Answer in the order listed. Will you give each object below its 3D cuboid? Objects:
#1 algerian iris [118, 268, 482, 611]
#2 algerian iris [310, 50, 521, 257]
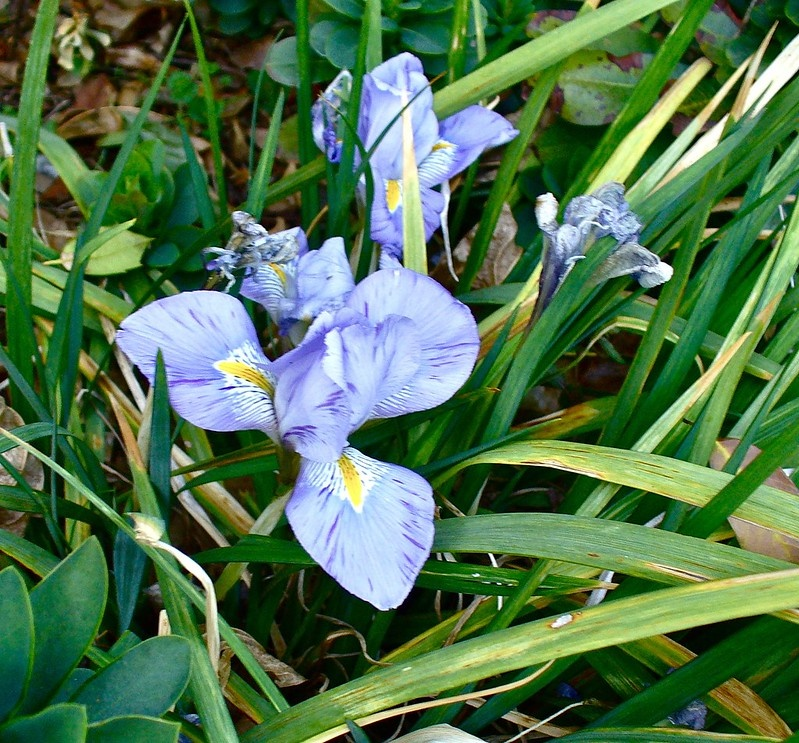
[{"bbox_3d":[-0.141,0.069,1.201,0.469,0.254,0.454,-14,80,-19],"label":"algerian iris"},{"bbox_3d":[0.038,-0.369,1.459,0.355,0.300,0.381,-1,42,-13],"label":"algerian iris"}]
